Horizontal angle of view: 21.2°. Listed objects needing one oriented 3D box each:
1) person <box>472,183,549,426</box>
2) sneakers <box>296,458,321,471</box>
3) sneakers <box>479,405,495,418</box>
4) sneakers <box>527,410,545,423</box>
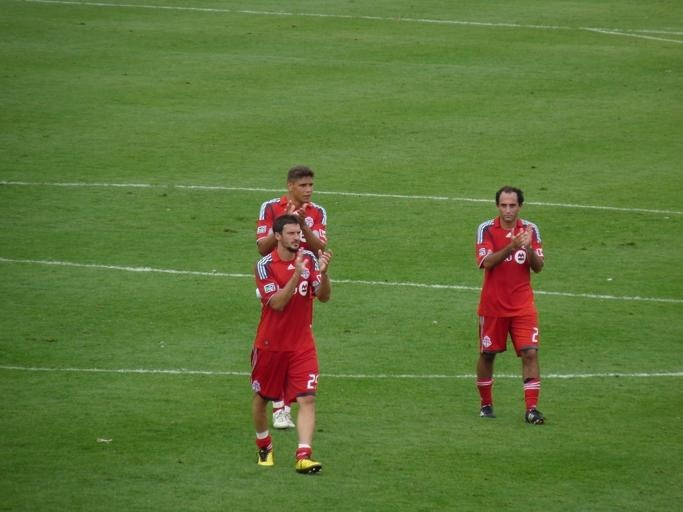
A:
[{"bbox_3d":[2.669,0.981,29.507,0.783,2.682,1.105,4,-2,-41],"label":"person"},{"bbox_3d":[-0.411,3.147,27.501,0.360,0.158,0.178,-7,0,39],"label":"sneakers"},{"bbox_3d":[2.342,2.498,29.527,0.244,0.151,0.131,2,-1,4],"label":"sneakers"},{"bbox_3d":[3.063,2.557,29.225,0.306,0.178,0.184,2,-1,4],"label":"sneakers"}]
